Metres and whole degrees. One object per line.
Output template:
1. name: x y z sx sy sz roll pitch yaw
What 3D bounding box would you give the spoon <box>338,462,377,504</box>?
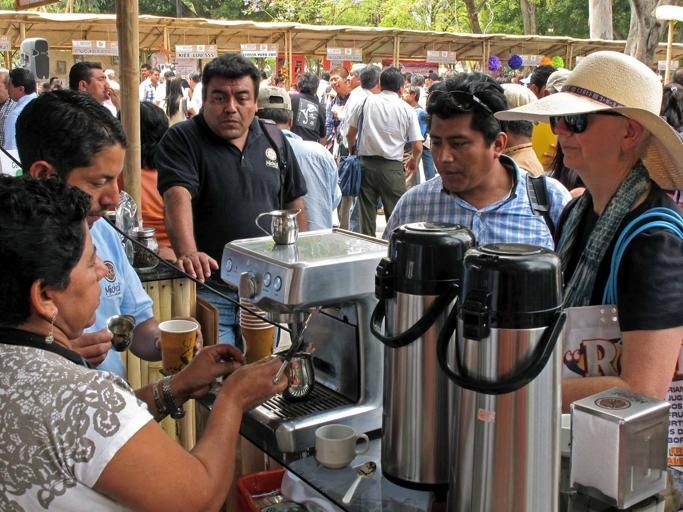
1. spoon: 0.051 0.613 1.694 0.036 0.022 0.179 4 22 19

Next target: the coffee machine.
1. coffee machine: -0.122 0.279 2.091 0.441 0.634 0.419 -4 8 -26

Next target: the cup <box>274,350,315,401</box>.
1. cup: -0.139 0.393 1.991 0.099 0.193 0.125 -1 7 -5

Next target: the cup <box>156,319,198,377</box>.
1. cup: -0.591 0.323 2.313 0.157 0.198 0.164 0 6 0

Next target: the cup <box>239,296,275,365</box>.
1. cup: -0.294 0.284 2.252 0.143 0.264 0.147 0 10 0
